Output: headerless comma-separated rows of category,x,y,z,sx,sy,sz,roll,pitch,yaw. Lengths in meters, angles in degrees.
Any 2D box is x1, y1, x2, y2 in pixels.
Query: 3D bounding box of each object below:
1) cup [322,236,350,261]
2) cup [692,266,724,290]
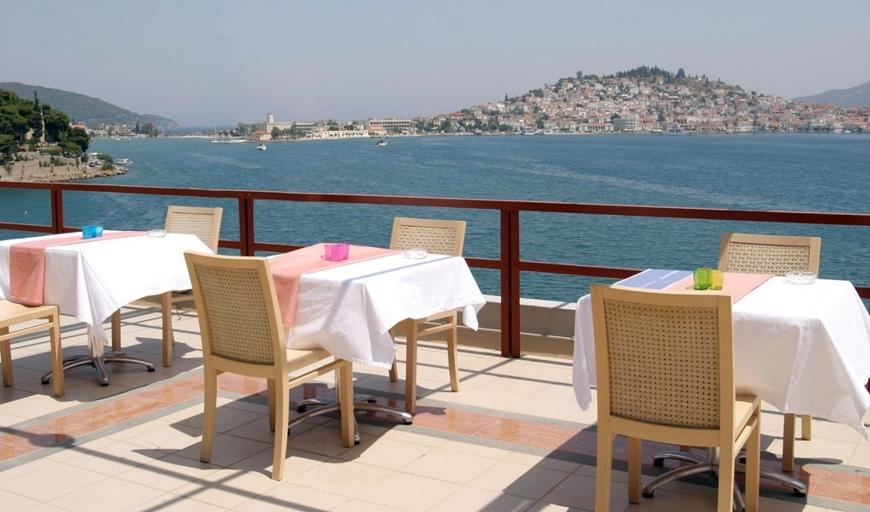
cup,-0.762,-0.045,5.130,0.173,0.090,0.159,0,7,0
cup,1.775,0.144,4.260,0.185,0.104,0.139,1,4,32
